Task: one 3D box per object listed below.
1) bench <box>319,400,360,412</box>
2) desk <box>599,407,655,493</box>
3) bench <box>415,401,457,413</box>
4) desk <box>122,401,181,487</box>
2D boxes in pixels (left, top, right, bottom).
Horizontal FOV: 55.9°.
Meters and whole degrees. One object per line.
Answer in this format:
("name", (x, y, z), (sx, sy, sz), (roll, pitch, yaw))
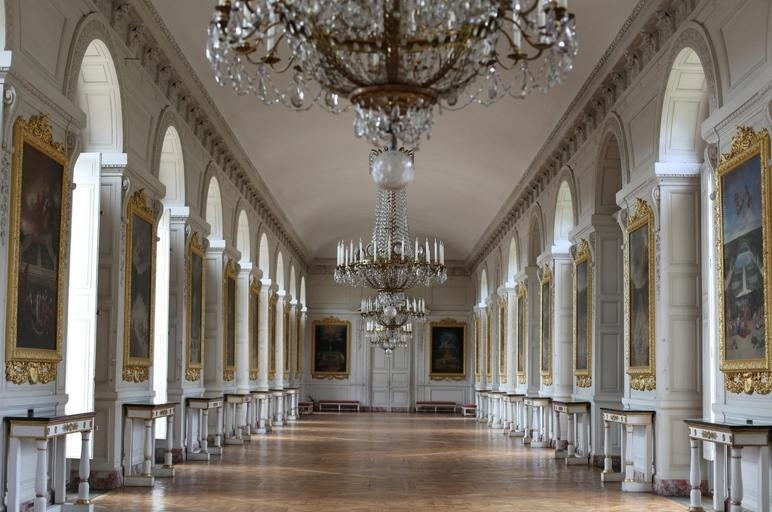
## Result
("bench", (-2.418, 7.733, 37.495), (2.165, 0.613, 1.438), (-1, -16, 0))
("desk", (4.734, 3.814, 14.472), (0.527, 1.527, 1.618), (1, -9, 1))
("bench", (2.600, 7.914, 38.010), (2.362, 0.626, 1.840), (3, -17, -13))
("desk", (-4.644, 3.721, 14.364), (0.497, 1.445, 1.554), (-1, -8, -1))
